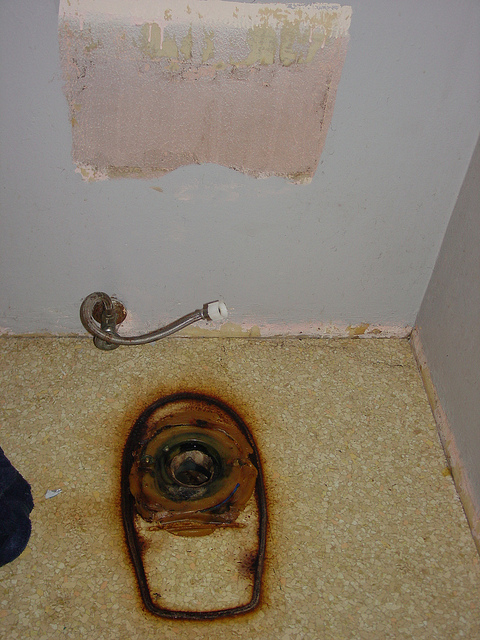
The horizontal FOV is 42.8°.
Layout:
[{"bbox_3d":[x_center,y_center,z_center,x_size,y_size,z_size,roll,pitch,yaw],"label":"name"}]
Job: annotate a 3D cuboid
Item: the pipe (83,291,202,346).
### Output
[{"bbox_3d":[-0.299,0.023,1.747,0.343,0.158,0.033,12,-4,26],"label":"pipe"}]
